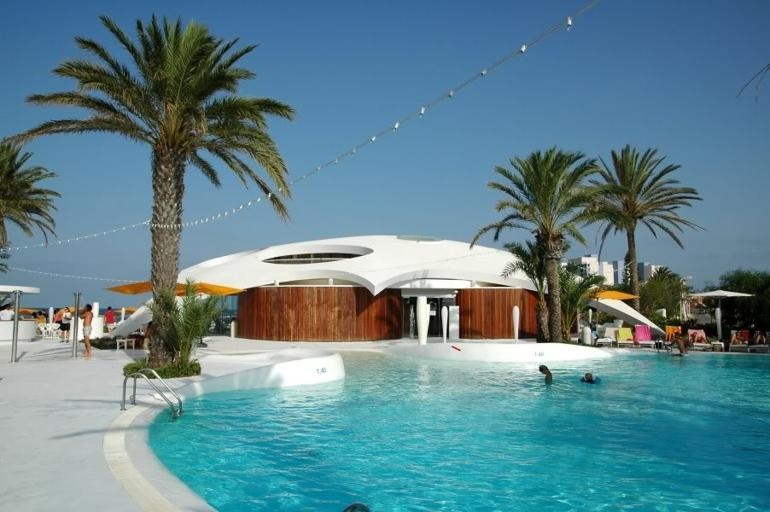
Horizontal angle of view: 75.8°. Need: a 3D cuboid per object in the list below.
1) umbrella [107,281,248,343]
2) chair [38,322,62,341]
[{"bbox_3d":[-7.477,2.100,18.266,4.870,1.567,4.422,-2,3,-39],"label":"umbrella"},{"bbox_3d":[-18.850,4.264,27.817,0.992,1.095,1.018,-2,-2,27],"label":"chair"}]
